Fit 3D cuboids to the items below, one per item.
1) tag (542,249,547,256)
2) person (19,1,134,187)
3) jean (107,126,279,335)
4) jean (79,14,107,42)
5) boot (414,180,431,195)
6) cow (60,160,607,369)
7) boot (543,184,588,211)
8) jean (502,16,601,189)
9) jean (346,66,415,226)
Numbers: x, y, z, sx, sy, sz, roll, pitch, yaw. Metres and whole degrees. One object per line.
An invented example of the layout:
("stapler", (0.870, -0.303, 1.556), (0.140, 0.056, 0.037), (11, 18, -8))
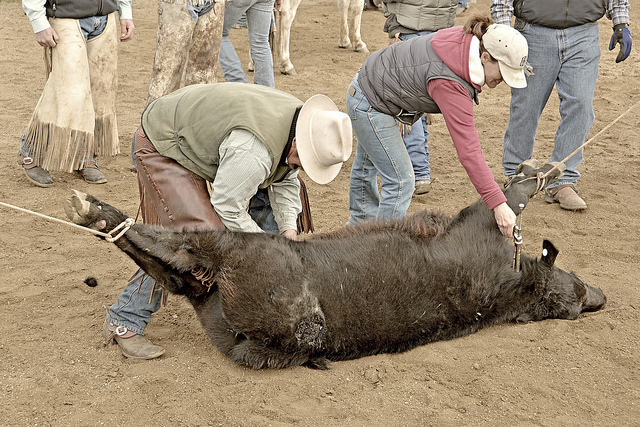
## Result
("tag", (2.017, 0.341, 8.268), (0.011, 0.045, 0.045), (-1, 3, -37))
("person", (-2.564, -1.270, 9.640), (1.209, 1.877, 0.611), (-14, 31, -24))
("jean", (-1.067, 0.185, 8.619), (1.932, 2.186, 0.980), (2, -2, 8))
("jean", (-2.359, -1.937, 9.612), (0.130, 0.178, 0.233), (16, 53, 38))
("boot", (1.121, -0.292, 10.068), (0.137, 0.158, 0.181), (2, 5, 10))
("cow", (0.089, 0.506, 8.060), (3.267, 1.505, 0.901), (-2, 66, -8))
("boot", (2.657, -0.204, 9.971), (0.254, 0.253, 0.600), (-3, 14, -21))
("jean", (2.438, -1.179, 9.762), (0.881, 1.662, 0.550), (5, 28, 11))
("jean", (0.600, -0.550, 8.842), (0.658, 1.986, 0.760), (-14, 32, -22))
